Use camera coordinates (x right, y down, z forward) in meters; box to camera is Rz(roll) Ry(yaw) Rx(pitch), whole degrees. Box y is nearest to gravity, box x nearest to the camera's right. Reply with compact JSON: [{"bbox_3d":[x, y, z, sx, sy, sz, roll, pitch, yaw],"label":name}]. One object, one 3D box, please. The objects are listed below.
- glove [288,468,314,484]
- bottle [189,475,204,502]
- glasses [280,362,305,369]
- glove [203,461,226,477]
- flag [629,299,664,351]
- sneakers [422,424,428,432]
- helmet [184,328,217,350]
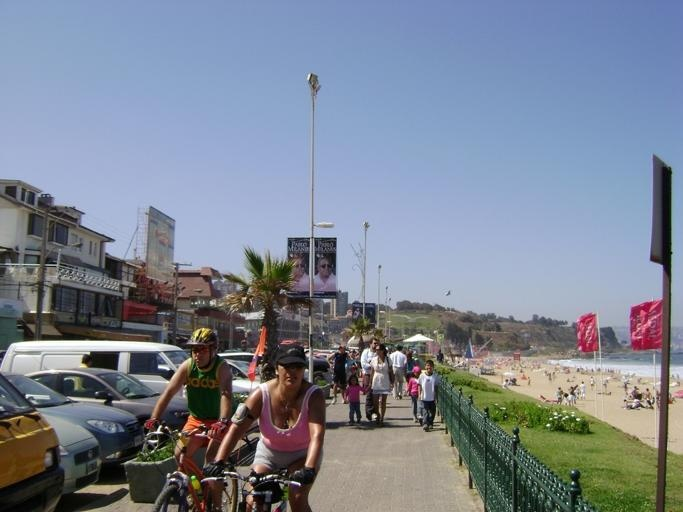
[{"bbox_3d":[-0.322,1.928,4.770,0.117,0.067,0.171,0,-9,-21],"label":"glove"},{"bbox_3d":[-1.550,2.504,5.859,0.147,0.235,0.116,0,-15,-1],"label":"bottle"},{"bbox_3d":[-0.461,1.049,5.221,0.245,0.049,0.125,4,-10,-13],"label":"glasses"},{"bbox_3d":[-1.178,1.956,5.055,0.156,0.076,0.118,2,1,38],"label":"glove"},{"bbox_3d":[16.503,3.766,29.746,0.347,2.664,2.510,6,-13,-7],"label":"flag"},{"bbox_3d":[2.354,4.861,15.343,0.085,0.164,0.092,-3,16,19],"label":"sneakers"},{"bbox_3d":[-1.665,0.994,6.603,0.329,0.251,0.350,4,-9,-14],"label":"helmet"}]
